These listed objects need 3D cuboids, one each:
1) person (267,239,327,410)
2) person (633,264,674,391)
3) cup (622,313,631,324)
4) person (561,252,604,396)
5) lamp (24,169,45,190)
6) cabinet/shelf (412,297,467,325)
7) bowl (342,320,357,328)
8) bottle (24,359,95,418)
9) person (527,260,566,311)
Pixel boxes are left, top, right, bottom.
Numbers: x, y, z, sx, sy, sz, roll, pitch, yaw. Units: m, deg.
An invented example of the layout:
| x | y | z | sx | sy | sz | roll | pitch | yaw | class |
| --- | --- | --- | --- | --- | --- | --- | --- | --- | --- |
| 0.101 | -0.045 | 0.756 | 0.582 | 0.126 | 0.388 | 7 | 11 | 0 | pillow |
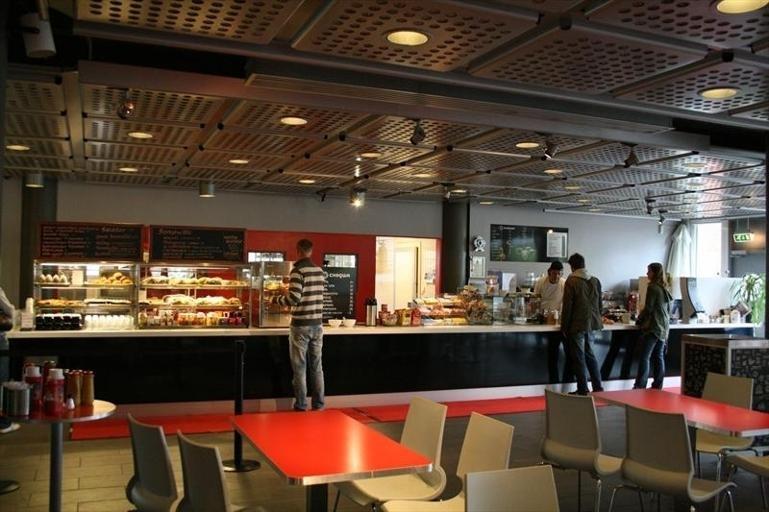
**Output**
| x | y | z | sx | sy | sz | roll | pitch | yaw | class |
| --- | --- | --- | --- | --- | --- | --- | --- | --- | --- |
| -1.093 | 0.903 | 7.682 | 0.603 | 1.612 | 0.758 | 1 | -1 | -7 | person |
| 4.294 | 1.124 | 9.375 | 0.528 | 1.994 | 0.395 | 1 | -1 | -29 | person |
| 4.107 | 1.071 | 10.012 | 0.205 | 0.174 | 0.173 | 0 | -3 | 18 | cup |
| 2.975 | 1.016 | 8.803 | 0.569 | 2.061 | 0.438 | 1 | -1 | -44 | person |
| -5.486 | -1.196 | 9.308 | 0.408 | 0.255 | 0.399 | 5 | -7 | -44 | lamp |
| 0.819 | 0.841 | 8.971 | 0.838 | 0.421 | 0.367 | 1 | -1 | -19 | cabinet/shelf |
| -0.519 | 0.980 | 8.458 | 0.154 | 0.097 | 0.162 | 0 | -8 | 0 | bowl |
| -2.634 | 1.082 | 4.807 | 0.442 | 0.369 | 0.552 | 2 | -6 | -18 | bottle |
| 2.728 | 0.520 | 9.792 | 0.467 | 0.826 | 0.683 | 1 | -1 | 15 | person |
